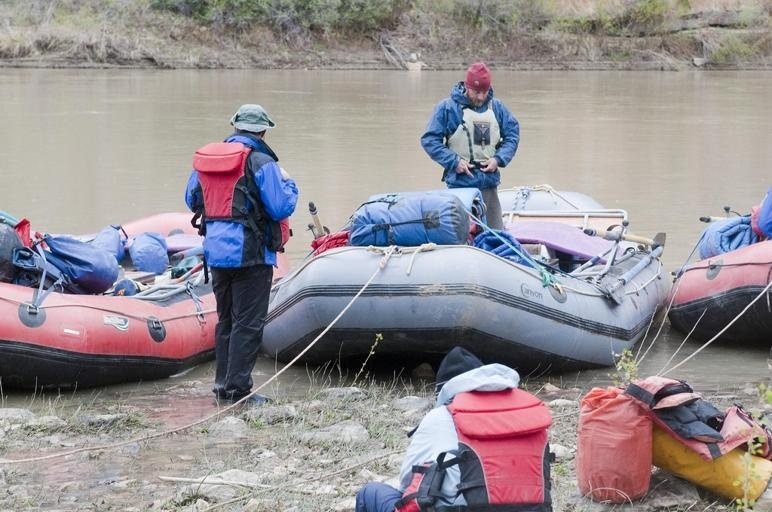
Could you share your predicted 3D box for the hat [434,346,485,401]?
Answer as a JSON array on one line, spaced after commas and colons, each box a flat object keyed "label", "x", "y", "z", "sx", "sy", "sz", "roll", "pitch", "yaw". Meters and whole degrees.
[{"label": "hat", "x": 0.701, "y": 1.130, "z": 12.047, "sx": 0.458, "sy": 0.202, "sz": 0.494, "roll": -10, "pitch": 48, "yaw": 22}]

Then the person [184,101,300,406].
[{"label": "person", "x": -1.556, "y": -0.040, "z": 13.014, "sx": 1.022, "sy": 3.166, "sz": 0.944, "roll": -8, "pitch": 15, "yaw": -25}]

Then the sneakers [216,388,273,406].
[{"label": "sneakers", "x": -1.579, "y": 1.535, "z": 13.014, "sx": 0.651, "sy": 0.267, "sz": 0.214, "roll": -1, "pitch": 10, "yaw": -9}]

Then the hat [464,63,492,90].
[{"label": "hat", "x": 1.138, "y": -2.219, "z": 14.775, "sx": 0.314, "sy": 0.350, "sz": 0.365, "roll": -1, "pitch": 13, "yaw": 1}]
